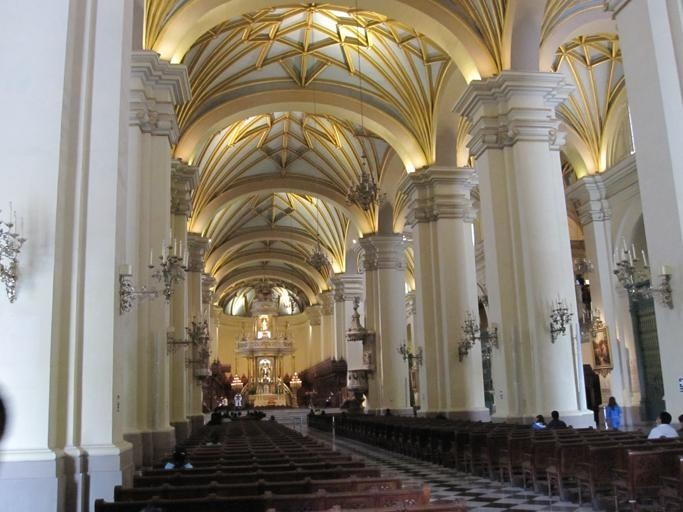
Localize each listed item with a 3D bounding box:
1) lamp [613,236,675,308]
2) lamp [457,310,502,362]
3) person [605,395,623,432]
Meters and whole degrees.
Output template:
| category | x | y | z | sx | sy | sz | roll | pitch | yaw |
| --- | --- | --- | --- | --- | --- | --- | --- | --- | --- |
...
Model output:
| category | x | y | z | sx | sy | sz | roll | pitch | yaw |
| --- | --- | --- | --- | --- | --- | --- | --- | --- | --- |
| lamp | 4.385 | 0.280 | 9.009 | 0.620 | 0.829 | 1.037 | -9 | 12 | 13 |
| lamp | 3.483 | 1.922 | 15.968 | 0.856 | 1.212 | 0.882 | -13 | -1 | -1 |
| person | 5.478 | 3.261 | 12.345 | 0.315 | 0.850 | 0.242 | -8 | 5 | -4 |
